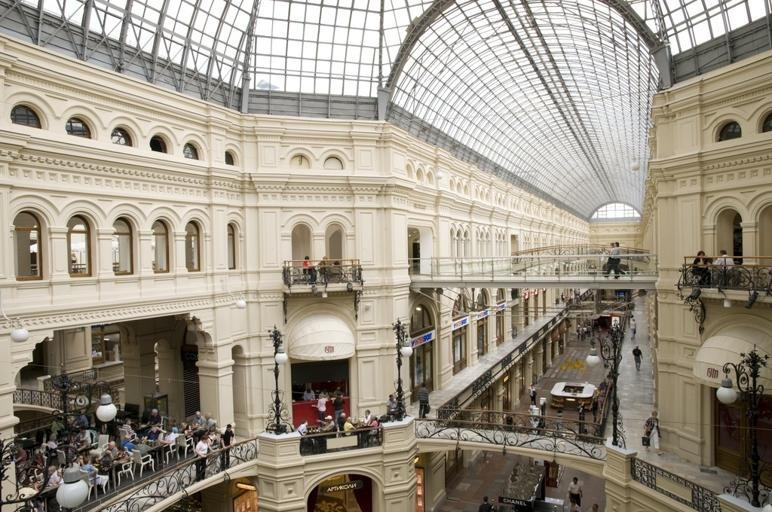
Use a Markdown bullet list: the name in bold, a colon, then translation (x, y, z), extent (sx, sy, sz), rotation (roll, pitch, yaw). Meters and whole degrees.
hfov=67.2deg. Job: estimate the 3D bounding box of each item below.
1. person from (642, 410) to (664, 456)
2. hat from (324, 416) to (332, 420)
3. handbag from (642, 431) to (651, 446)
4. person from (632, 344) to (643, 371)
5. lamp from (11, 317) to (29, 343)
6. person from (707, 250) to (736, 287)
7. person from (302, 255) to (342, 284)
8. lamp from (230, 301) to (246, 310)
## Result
- **person**: translation (11.284, 7.454, 24.728), extent (0.661, 1.579, 1.290), rotation (-6, -6, 36)
- **hat**: translation (-2.831, 7.950, 28.402), extent (0.328, 0.166, 0.238), rotation (-3, -8, 23)
- **handbag**: translation (10.948, 7.771, 24.535), extent (0.323, 0.564, 0.594), rotation (-5, -5, 24)
- **person**: translation (15.220, 6.208, 35.255), extent (0.396, 1.397, 1.727), rotation (-4, -5, 20)
- **lamp**: translation (-13.517, 2.792, 21.480), extent (0.555, 0.830, 1.675), rotation (0, -6, -32)
- **person**: translation (12.987, 0.597, 22.522), extent (0.850, 1.352, 0.699), rotation (-6, -5, 30)
- **person**: translation (-3.320, 0.729, 29.969), extent (1.410, 0.955, 1.463), rotation (0, -7, -4)
- **lamp**: translation (-7.109, 2.440, 28.217), extent (0.517, 0.558, 0.542), rotation (4, 10, 20)
